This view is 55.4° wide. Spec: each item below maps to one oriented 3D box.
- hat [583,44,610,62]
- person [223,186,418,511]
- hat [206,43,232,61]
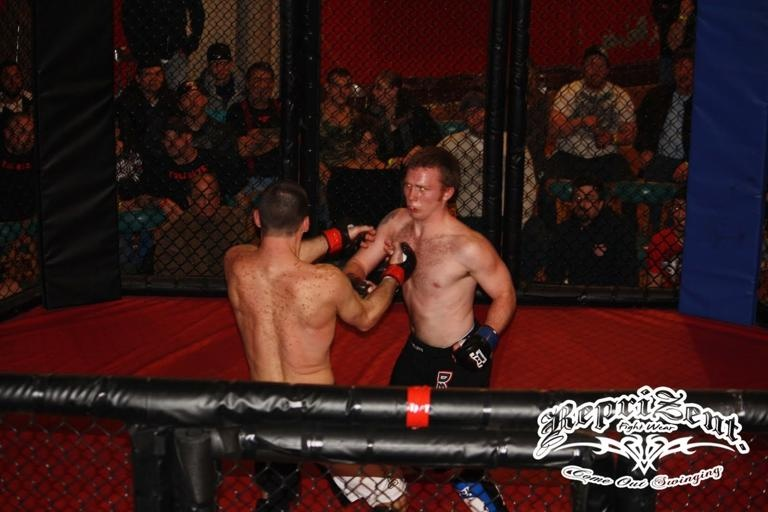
[{"bbox_3d":[1.612,-1.563,5.588,0.182,0.139,0.182,3,4,2],"label":"hat"},{"bbox_3d":[-0.336,0.396,3.639,0.875,1.470,1.572,-2,13,-11],"label":"person"},{"bbox_3d":[-1.320,-1.620,5.860,0.163,0.118,0.164,6,14,26],"label":"hat"}]
